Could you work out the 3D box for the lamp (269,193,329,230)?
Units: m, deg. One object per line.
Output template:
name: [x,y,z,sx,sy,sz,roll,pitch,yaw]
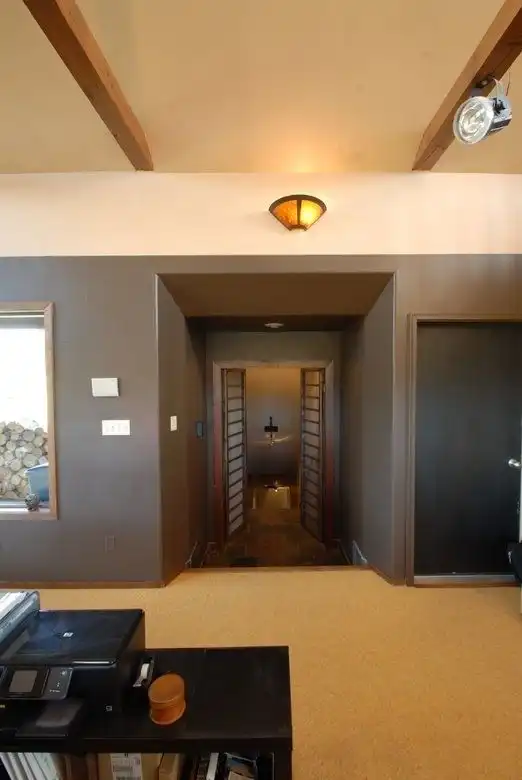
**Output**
lamp: [0.191,-0.961,2.989,0.296,0.160,0.166,0,8,3]
